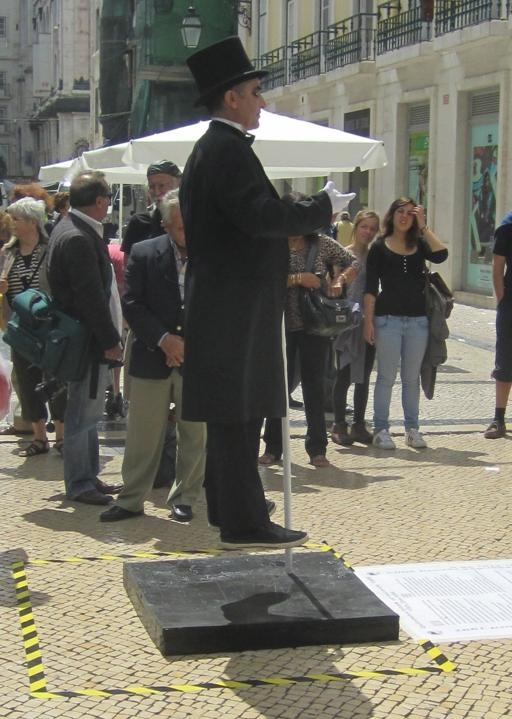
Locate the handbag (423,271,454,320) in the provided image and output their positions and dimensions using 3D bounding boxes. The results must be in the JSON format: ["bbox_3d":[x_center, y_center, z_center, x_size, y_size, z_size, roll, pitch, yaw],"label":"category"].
[{"bbox_3d":[1.481,-0.596,6.877,0.283,0.148,0.318,-15,-38,8],"label":"handbag"}]

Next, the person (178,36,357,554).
[{"bbox_3d":[0.026,-0.237,3.094,0.648,1.726,0.591,-1,3,-13],"label":"person"}]

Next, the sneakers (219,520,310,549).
[{"bbox_3d":[0.029,0.629,3.070,0.312,0.112,0.110,-1,-6,-1],"label":"sneakers"}]

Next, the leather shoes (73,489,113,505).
[{"bbox_3d":[-0.981,0.839,5.112,0.266,0.097,0.093,-1,4,5],"label":"leather shoes"}]

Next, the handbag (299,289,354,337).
[{"bbox_3d":[0.485,-0.335,6.056,0.334,0.332,0.168,-7,-18,-47],"label":"handbag"}]

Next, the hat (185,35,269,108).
[{"bbox_3d":[-0.128,-0.989,2.881,0.261,0.128,0.242,-30,12,-12],"label":"hat"}]

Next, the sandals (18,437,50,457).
[{"bbox_3d":[-1.707,0.678,6.492,0.112,0.112,0.262,0,-2,45],"label":"sandals"}]

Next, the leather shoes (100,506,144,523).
[{"bbox_3d":[-0.761,0.878,4.761,0.224,0.086,0.078,6,-3,-23],"label":"leather shoes"}]

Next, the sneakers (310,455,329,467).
[{"bbox_3d":[0.455,0.741,6.140,0.070,0.073,0.179,0,-8,-4],"label":"sneakers"}]

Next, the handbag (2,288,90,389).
[{"bbox_3d":[-1.287,-0.139,5.213,0.631,0.506,0.345,35,14,29],"label":"handbag"}]
